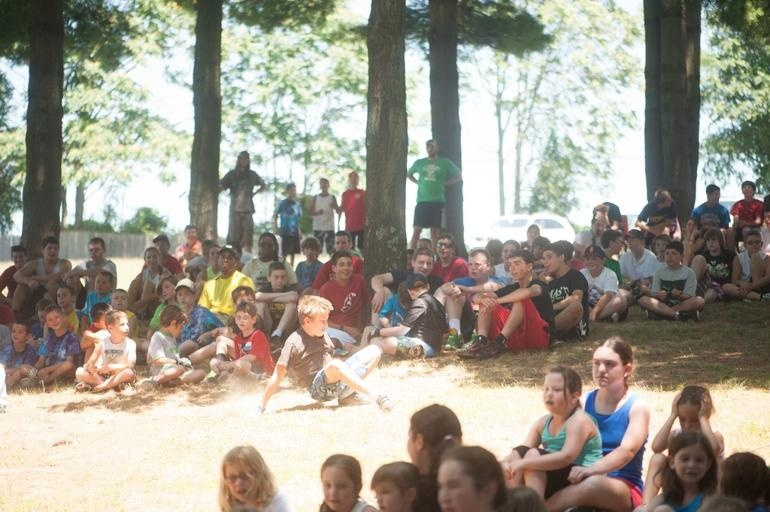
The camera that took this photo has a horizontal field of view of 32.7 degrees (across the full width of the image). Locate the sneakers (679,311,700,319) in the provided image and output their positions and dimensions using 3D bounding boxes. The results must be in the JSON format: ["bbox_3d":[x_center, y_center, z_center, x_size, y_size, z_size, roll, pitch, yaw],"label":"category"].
[{"bbox_3d":[7.388,1.429,32.055,0.541,0.280,0.209,-4,2,6],"label":"sneakers"}]

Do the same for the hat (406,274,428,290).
[{"bbox_3d":[0.743,0.601,30.844,0.450,0.361,0.771,0,3,-5],"label":"hat"}]
